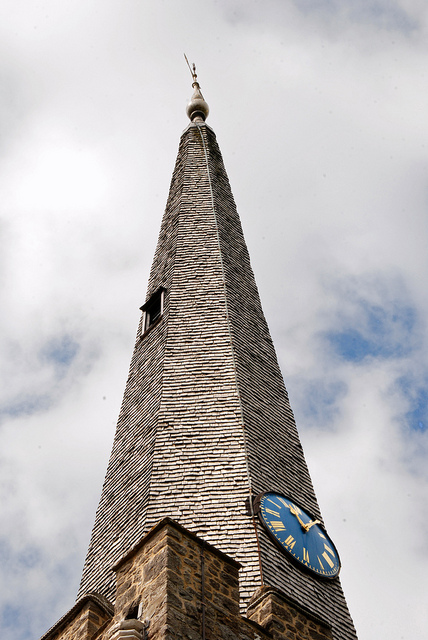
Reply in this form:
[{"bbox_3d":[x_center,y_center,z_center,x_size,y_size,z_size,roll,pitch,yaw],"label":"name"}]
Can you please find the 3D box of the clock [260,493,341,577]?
[{"bbox_3d":[1.732,4.421,17.656,0.538,1.930,2.201,-30,-49,25],"label":"clock"}]
